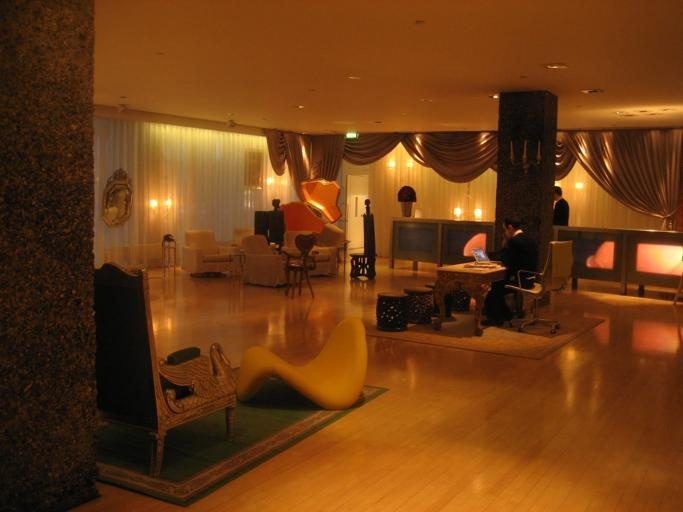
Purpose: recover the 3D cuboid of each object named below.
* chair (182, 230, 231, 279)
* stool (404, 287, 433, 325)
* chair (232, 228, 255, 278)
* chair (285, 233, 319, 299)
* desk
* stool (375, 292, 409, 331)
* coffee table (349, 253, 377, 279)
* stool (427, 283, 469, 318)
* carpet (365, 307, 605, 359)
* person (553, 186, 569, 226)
[{"bbox_3d":[-2.816,-0.043,11.706,0.903,1.090,0.978,0,0,-32],"label":"chair"},{"bbox_3d":[1.108,0.698,7.555,0.410,0.502,0.410,0,0,24],"label":"stool"},{"bbox_3d":[-2.242,-0.157,12.129,0.686,1.131,1.014,0,1,-11],"label":"chair"},{"bbox_3d":[-0.757,0.127,9.708,0.488,1.040,0.523,1,1,19],"label":"chair"},{"bbox_3d":[1.747,0.307,7.291,0.735,0.989,1.238,1,3,25],"label":"desk"},{"bbox_3d":[0.665,0.719,7.230,0.403,0.479,0.428,1,0,30],"label":"stool"},{"bbox_3d":[0.475,0.214,11.861,0.515,0.573,0.484,1,-2,-9],"label":"coffee table"},{"bbox_3d":[1.692,0.665,8.300,0.594,0.486,0.449,3,-3,-40],"label":"stool"},{"bbox_3d":[1.999,0.991,6.908,3.235,0.174,1.804,-3,3,-15],"label":"carpet"},{"bbox_3d":[4.527,-1.043,11.200,0.271,0.824,1.141,0,4,22],"label":"person"}]
